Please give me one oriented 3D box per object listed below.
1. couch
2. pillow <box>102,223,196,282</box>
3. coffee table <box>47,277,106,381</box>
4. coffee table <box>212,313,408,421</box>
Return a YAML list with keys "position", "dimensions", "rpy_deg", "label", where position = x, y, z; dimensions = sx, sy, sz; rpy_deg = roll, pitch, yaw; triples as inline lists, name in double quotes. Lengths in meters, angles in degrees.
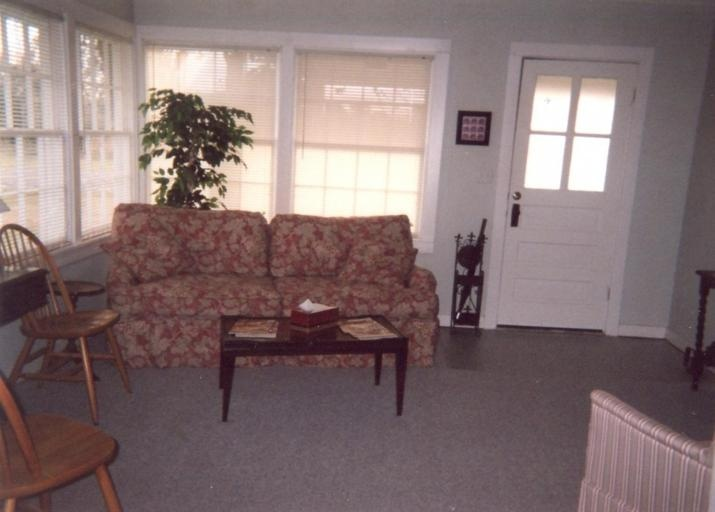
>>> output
- position: [-0.706, 0.227, 4.912]
  dimensions: [2.569, 1.128, 1.065]
  rpy_deg: [2, 9, -17]
  label: "couch"
- position: [-1.747, -0.117, 5.005]
  dimensions: [0.835, 0.222, 0.803]
  rpy_deg: [-22, 5, 0]
  label: "pillow"
- position: [-2.080, 0.515, 4.273]
  dimensions: [0.433, 0.558, 0.445]
  rpy_deg: [4, -1, -14]
  label: "coffee table"
- position: [-0.298, 0.738, 4.010]
  dimensions: [1.274, 0.619, 0.446]
  rpy_deg: [1, 10, -8]
  label: "coffee table"
